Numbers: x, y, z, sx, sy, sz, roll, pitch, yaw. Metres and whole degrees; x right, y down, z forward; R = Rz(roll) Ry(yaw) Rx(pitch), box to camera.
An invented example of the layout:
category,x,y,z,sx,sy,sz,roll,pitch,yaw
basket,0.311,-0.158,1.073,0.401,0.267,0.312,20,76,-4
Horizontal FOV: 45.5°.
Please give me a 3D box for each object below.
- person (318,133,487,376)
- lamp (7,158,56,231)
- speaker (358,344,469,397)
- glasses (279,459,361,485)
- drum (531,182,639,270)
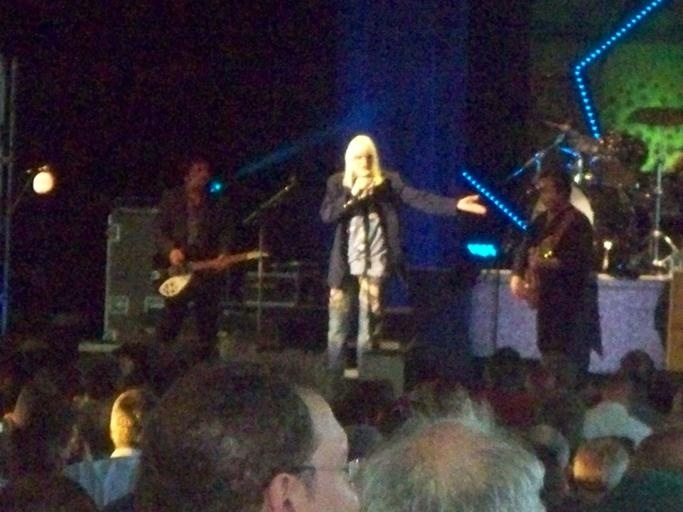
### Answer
category,x,y,z,sx,sy,sz,roll,pitch,yaw
person,0.306,0.035,4.598,1.132,1.700,0.483,1,-17,-1
lamp,-1.909,-0.373,4.960,0.165,0.405,0.182,32,18,-41
speaker,0.412,0.603,4.394,0.455,0.342,0.259,0,3,0
glasses,-0.063,0.806,3.085,0.222,0.068,0.225,0,-6,-3
drum,1.587,-0.100,4.980,0.438,0.616,0.301,9,3,9
